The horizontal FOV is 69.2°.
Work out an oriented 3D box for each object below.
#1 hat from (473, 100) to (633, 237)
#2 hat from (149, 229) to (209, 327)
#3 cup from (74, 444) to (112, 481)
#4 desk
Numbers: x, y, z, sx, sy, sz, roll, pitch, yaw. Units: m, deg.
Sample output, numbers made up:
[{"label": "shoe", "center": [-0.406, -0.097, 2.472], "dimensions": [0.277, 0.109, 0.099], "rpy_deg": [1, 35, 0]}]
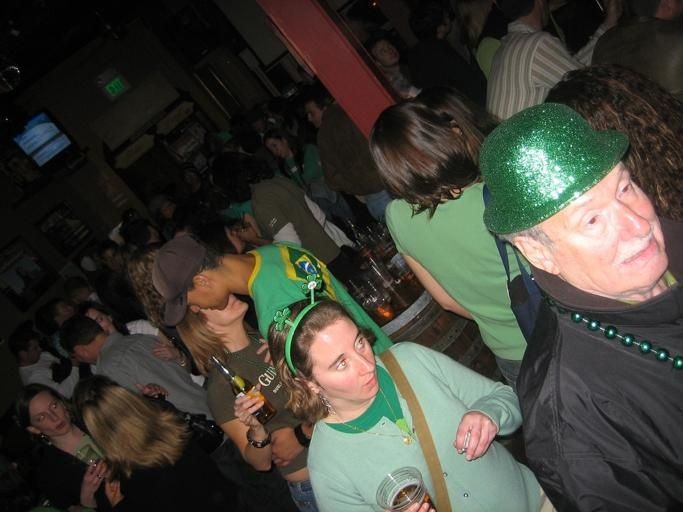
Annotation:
[{"label": "hat", "center": [0.874, -0.407, 2.182], "dimensions": [0.597, 0.282, 0.602], "rpy_deg": [-41, 12, 14]}, {"label": "hat", "center": [-1.137, 0.129, 3.395], "dimensions": [0.372, 0.319, 0.601], "rpy_deg": [4, 70, 49]}, {"label": "cup", "center": [-2.161, 1.787, 4.333], "dimensions": [0.161, 0.419, 0.255], "rpy_deg": [-46, 16, -33]}, {"label": "desk", "center": [0.536, 0.688, 4.123], "dimensions": [0.970, 0.918, 0.961], "rpy_deg": [-49, 43, 19]}]
